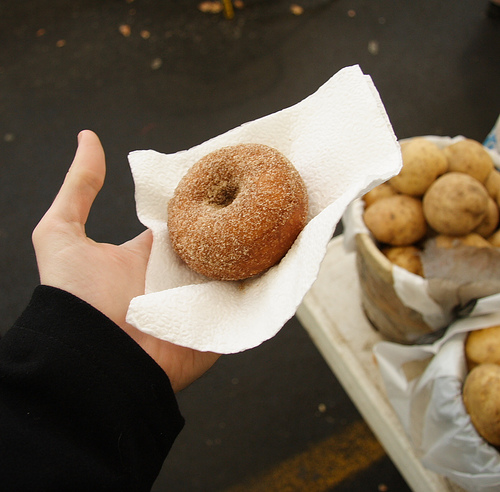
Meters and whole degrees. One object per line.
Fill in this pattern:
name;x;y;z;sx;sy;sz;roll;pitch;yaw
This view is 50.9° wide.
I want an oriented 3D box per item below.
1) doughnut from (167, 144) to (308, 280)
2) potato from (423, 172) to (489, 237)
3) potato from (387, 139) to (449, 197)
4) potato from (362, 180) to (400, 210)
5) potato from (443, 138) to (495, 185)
doughnut;-0.028;-0.066;0.905;0.239;0.074;0.218;-40;74;-6
potato;0.405;-0.085;1.025;0.124;0.075;0.120;-34;74;-4
potato;0.343;-0.162;1.074;0.114;0.042;0.114;-19;77;18
potato;0.275;-0.112;1.096;0.061;0.062;0.034;-29;105;-2
potato;0.444;-0.169;1.093;0.062;0.088;0.093;-7;28;-19
